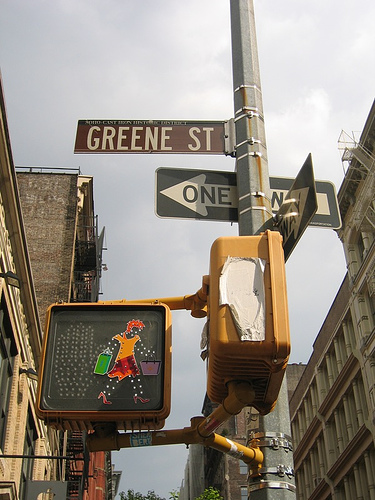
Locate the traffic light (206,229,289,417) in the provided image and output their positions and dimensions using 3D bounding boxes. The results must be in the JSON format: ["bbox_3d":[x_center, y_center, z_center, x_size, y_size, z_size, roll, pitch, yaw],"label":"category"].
[{"bbox_3d":[0.323,0.397,3.418,0.321,0.940,0.606,4,-40,-2],"label":"traffic light"}]
